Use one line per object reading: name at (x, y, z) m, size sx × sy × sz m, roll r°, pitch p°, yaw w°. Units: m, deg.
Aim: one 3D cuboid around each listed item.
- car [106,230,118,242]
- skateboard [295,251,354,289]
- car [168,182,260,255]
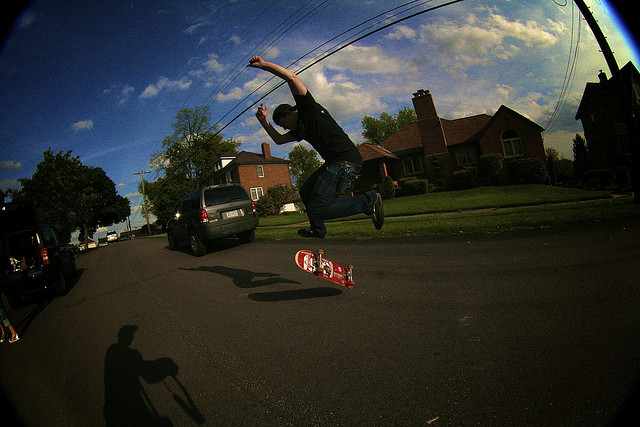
car at (-31.168, 3.411, 49.727) m, size 1.219 × 1.492 × 2.638 m, roll -14°, pitch 9°, yaw -36°
skateboard at (0.068, 0.935, 5.757) m, size 1.257 × 0.388 × 0.179 m, roll 27°, pitch -4°, yaw -29°
car at (-3.995, 0.070, 11.993) m, size 1.761 × 1.676 × 3.741 m, roll -2°, pitch 3°, yaw -37°
